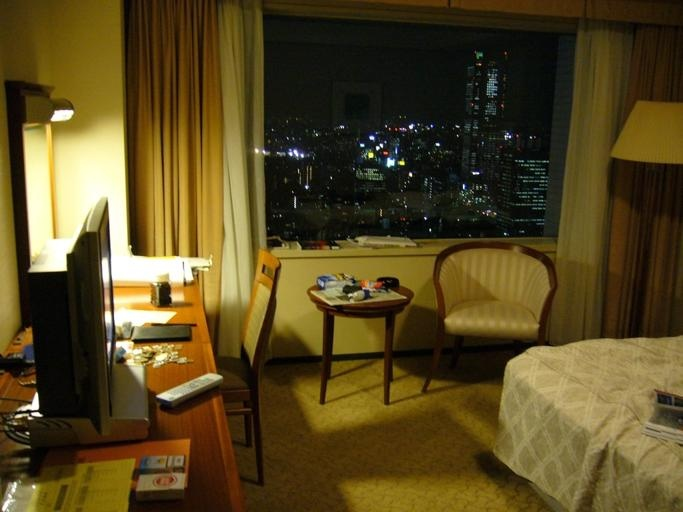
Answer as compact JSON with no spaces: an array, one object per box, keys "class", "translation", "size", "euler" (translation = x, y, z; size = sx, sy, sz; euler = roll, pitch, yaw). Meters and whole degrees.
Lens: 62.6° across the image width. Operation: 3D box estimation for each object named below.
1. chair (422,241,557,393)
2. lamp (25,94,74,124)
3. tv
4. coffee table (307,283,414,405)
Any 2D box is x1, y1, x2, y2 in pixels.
[{"class":"chair","translation":[1.014,0.415,3.964],"size":[0.925,1.105,0.611],"euler":[2,1,6]},{"class":"lamp","translation":[-1.360,-0.681,2.637],"size":[0.135,0.165,0.235],"euler":[0,18,-6]},{"class":"tv","translation":[-0.914,0.227,1.892],"size":[0.226,0.668,0.737],"euler":[0,12,-14]},{"class":"coffee table","translation":[0.137,0.530,3.909],"size":[0.676,0.698,0.751],"euler":[0,6,3]}]
